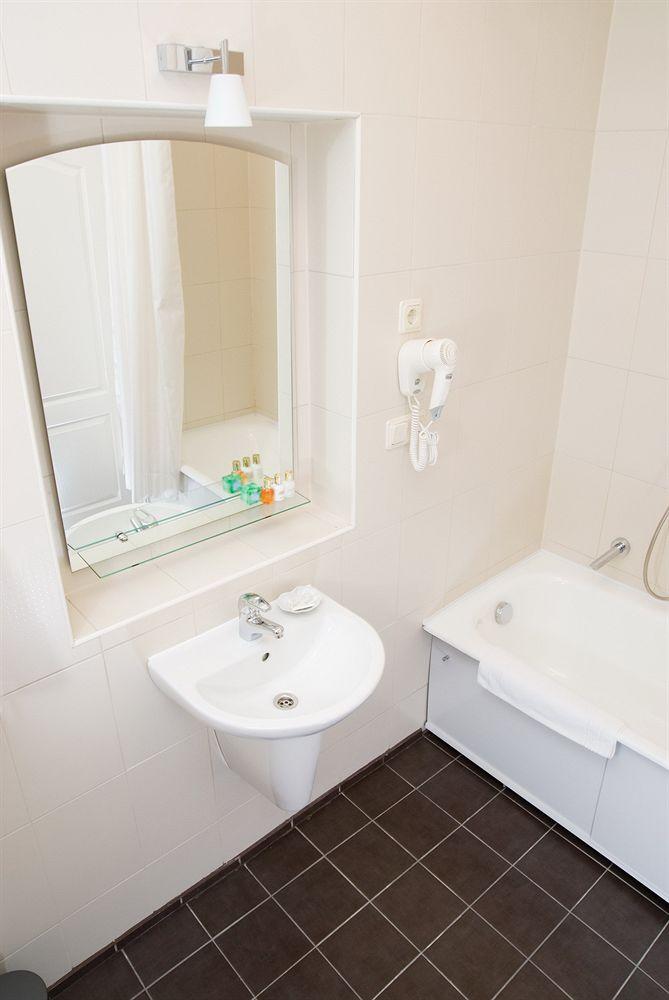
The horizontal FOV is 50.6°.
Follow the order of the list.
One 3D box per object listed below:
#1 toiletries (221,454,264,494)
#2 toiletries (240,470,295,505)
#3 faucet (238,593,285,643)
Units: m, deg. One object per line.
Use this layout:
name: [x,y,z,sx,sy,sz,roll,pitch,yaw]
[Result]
toiletries: [-0.243,-0.071,1.815,0.027,0.072,0.076,23,31,36]
toiletries: [-0.179,-0.042,1.870,0.121,0.087,0.074,-8,18,-34]
faucet: [-0.173,0.276,1.629,0.043,0.108,0.132,-18,33,-32]
